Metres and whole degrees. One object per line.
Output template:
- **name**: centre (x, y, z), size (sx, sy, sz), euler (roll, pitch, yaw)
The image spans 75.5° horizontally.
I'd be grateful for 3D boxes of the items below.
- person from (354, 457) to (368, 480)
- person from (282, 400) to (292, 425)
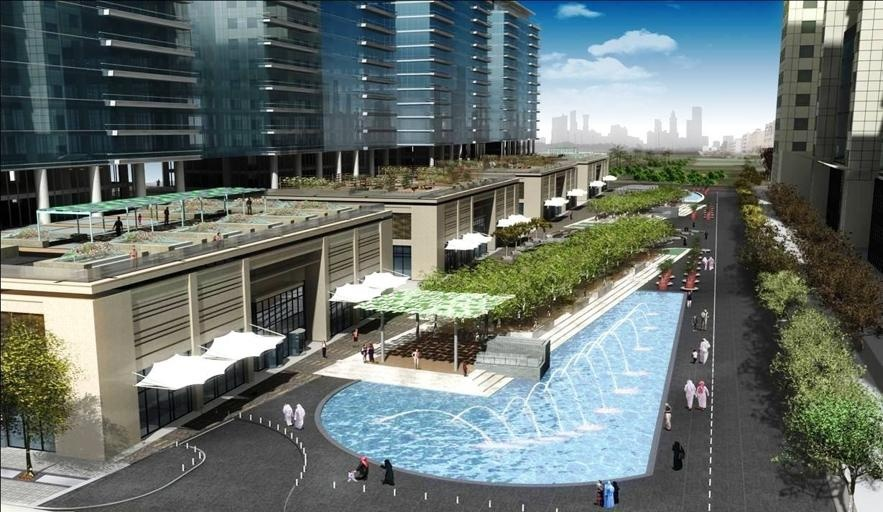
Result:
- **person**: centre (-5.592, 14.777, 40.211), size (0.845, 1.482, 0.979), euler (-3, 13, -1)
- **person**: centre (-12.263, 12.603, 45.923), size (0.641, 1.970, 1.107), euler (-7, 15, -18)
